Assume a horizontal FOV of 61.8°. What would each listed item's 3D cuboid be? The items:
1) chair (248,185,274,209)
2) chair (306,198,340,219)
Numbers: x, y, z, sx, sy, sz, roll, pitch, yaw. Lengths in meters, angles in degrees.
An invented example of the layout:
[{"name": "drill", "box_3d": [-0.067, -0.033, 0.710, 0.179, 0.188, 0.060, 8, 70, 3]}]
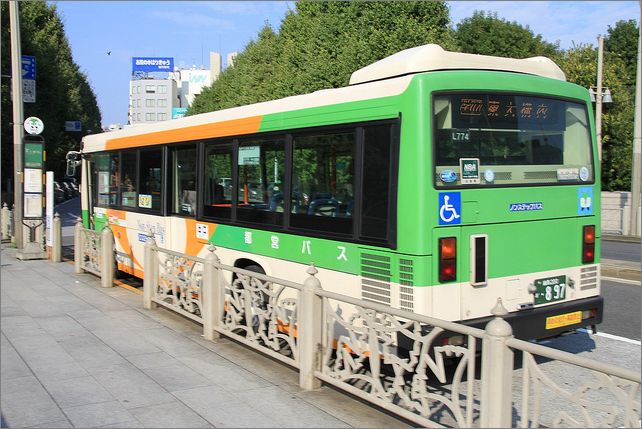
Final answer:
[{"name": "chair", "box_3d": [-0.990, -0.255, 8.615, 0.308, 0.227, 0.463, -4, 12, -37]}, {"name": "chair", "box_3d": [0.050, -0.082, 7.566, 0.269, 0.343, 0.316, 3, 8, -4]}]
